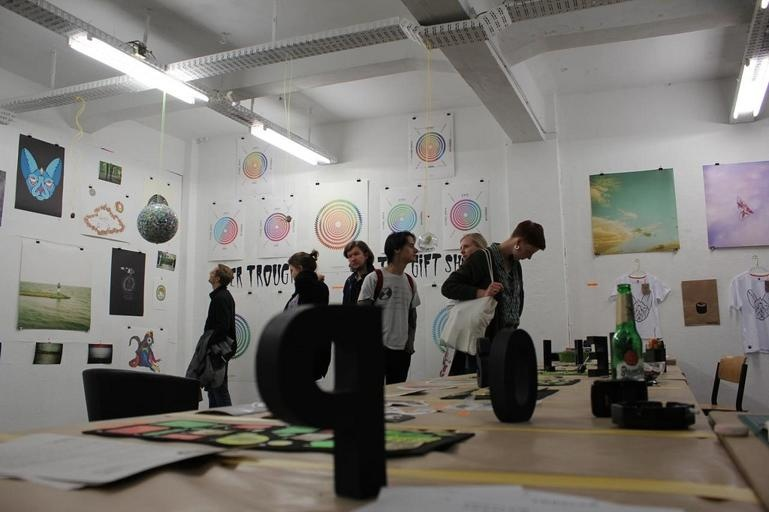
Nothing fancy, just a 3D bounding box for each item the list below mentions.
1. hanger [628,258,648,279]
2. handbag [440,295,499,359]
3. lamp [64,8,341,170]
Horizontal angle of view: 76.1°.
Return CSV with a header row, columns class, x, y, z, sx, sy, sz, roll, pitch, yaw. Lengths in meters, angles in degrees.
class,x,y,z,sx,sy,sz,roll,pitch,yaw
hanger,2.778,0.148,5.382,0.211,0.230,0.003,-3,-6,10
handbag,0.506,0.421,2.938,0.295,0.358,0.314,-5,-7,45
lamp,-1.753,-1.437,4.786,0.621,0.334,2.677,-3,-5,27
